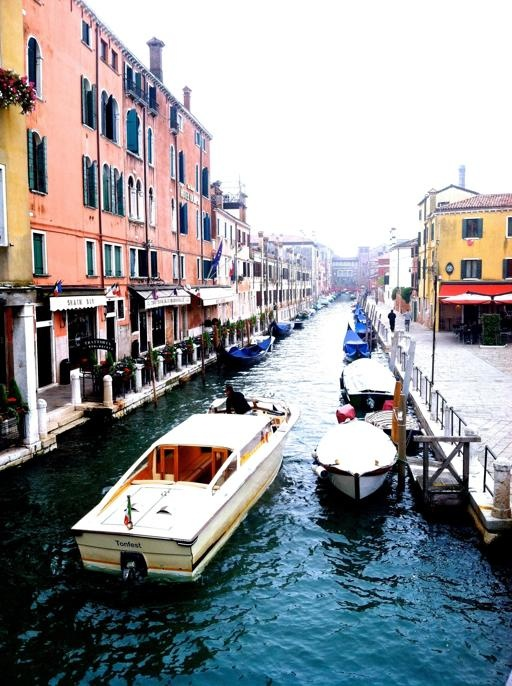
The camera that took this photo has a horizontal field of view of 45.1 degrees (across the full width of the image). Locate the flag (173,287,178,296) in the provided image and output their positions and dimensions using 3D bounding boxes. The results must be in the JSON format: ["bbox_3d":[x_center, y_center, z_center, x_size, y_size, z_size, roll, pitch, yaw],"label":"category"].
[{"bbox_3d":[-3.688,-2.380,27.944,0.224,0.469,0.238,0,-3,6],"label":"flag"}]

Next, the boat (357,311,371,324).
[{"bbox_3d":[10.423,-2.626,60.089,0.764,1.531,5.463,4,4,15],"label":"boat"}]

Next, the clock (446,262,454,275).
[{"bbox_3d":[12.708,-4.962,40.304,0.511,0.788,0.158,2,6,8],"label":"clock"}]

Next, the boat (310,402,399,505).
[{"bbox_3d":[2.043,2.529,12.751,1.626,1.046,2.570,2,6,6],"label":"boat"}]

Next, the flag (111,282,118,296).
[{"bbox_3d":[-4.746,-1.842,20.652,0.244,0.404,0.832,0,6,-13],"label":"flag"}]

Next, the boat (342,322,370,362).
[{"bbox_3d":[5.821,0.174,35.931,0.848,1.298,4.056,0,17,4],"label":"boat"}]
